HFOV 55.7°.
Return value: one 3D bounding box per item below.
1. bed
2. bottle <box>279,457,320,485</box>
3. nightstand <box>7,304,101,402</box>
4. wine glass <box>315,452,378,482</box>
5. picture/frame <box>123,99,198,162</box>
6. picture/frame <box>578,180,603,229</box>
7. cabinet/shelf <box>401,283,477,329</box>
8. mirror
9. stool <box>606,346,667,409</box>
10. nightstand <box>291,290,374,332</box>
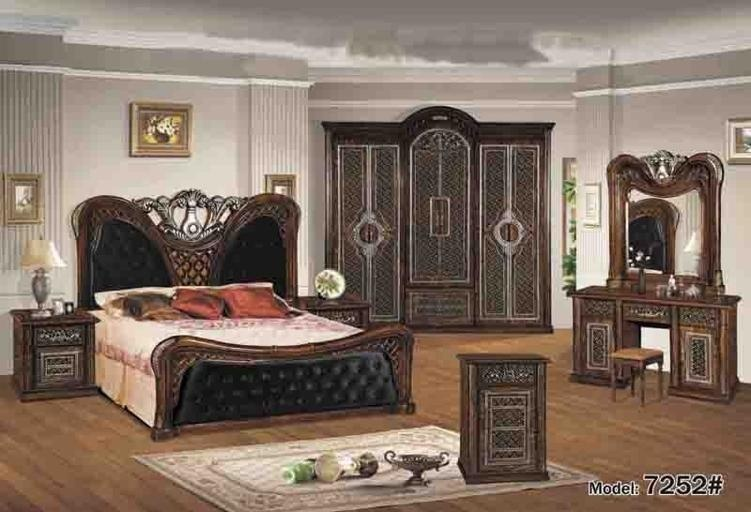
[{"bbox_3d":[-1.673,0.664,7.764,2.614,2.027,3.016,-1,2,-23],"label":"bed"},{"bbox_3d":[-0.563,1.616,5.371,0.255,0.155,0.191,0,3,-9],"label":"bottle"},{"bbox_3d":[-3.417,0.992,7.751,1.026,0.988,0.853,0,-2,-26],"label":"nightstand"},{"bbox_3d":[-0.229,1.598,5.389,0.392,0.158,0.216,-2,5,-12],"label":"wine glass"},{"bbox_3d":[-2.556,-1.479,8.397,0.786,0.664,0.090,-1,1,-27],"label":"picture/frame"},{"bbox_3d":[2.642,-0.610,8.756,0.096,0.536,0.331,-1,3,-26],"label":"picture/frame"},{"bbox_3d":[0.933,0.615,10.876,1.002,0.569,0.603,0,-1,-8],"label":"cabinet/shelf"},{"bbox_3d":[3.290,-0.320,7.952,1.745,1.933,0.235,0,1,37],"label":"mirror"},{"bbox_3d":[2.683,1.192,7.365,0.625,0.610,0.612,0,0,33],"label":"stool"},{"bbox_3d":[-0.490,0.653,8.617,0.640,0.572,0.391,0,1,-11],"label":"nightstand"}]
